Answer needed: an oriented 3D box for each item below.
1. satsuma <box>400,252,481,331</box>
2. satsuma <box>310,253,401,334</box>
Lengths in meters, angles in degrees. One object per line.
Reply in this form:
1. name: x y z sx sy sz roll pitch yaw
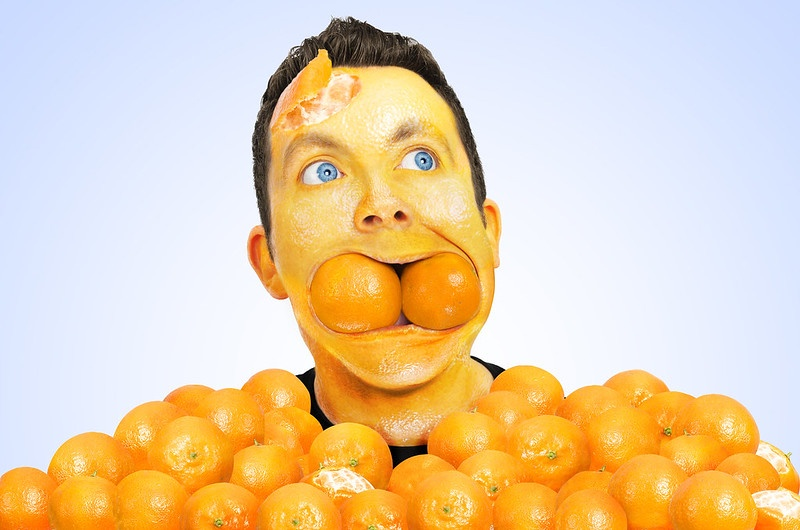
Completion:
1. satsuma: 0.168 0.126 3.759 0.328 0.259 0.335 -21 -90 -1
2. satsuma: -0.190 0.125 3.645 0.389 0.232 0.267 -5 -48 0
